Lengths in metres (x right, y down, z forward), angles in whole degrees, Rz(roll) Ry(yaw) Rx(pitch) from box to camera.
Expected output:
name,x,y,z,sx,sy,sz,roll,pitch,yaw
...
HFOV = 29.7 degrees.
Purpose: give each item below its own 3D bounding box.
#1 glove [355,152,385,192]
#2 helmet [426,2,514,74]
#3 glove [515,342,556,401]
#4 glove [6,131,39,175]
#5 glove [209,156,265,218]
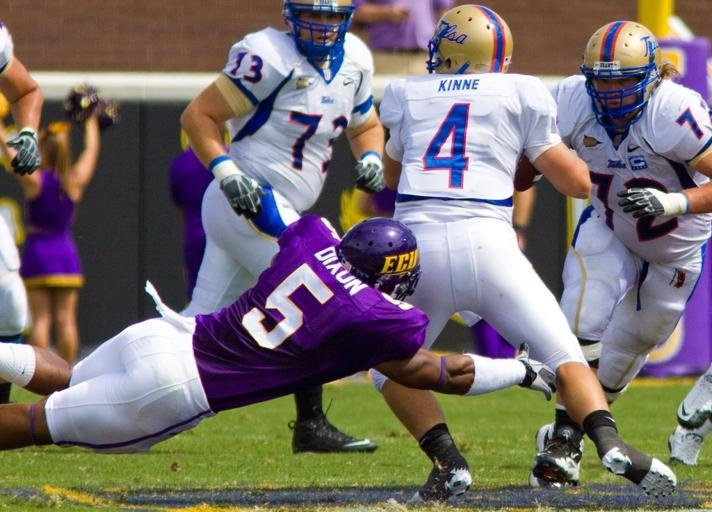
name,x,y,z,sx,sy,sz,roll,pitch,yaw
glove,0.076,-0.461,7.413,0.141,0.211,0.211,1,-1,10
helmet,0.594,-1.100,6.857,0.399,0.344,0.306,27,25,38
glove,0.876,0.554,6.446,0.274,0.131,0.165,31,44,-12
glove,-1.741,-0.542,6.931,0.159,0.243,0.205,1,5,-3
glove,-0.623,-0.364,6.898,0.221,0.323,0.100,-33,-13,-7
